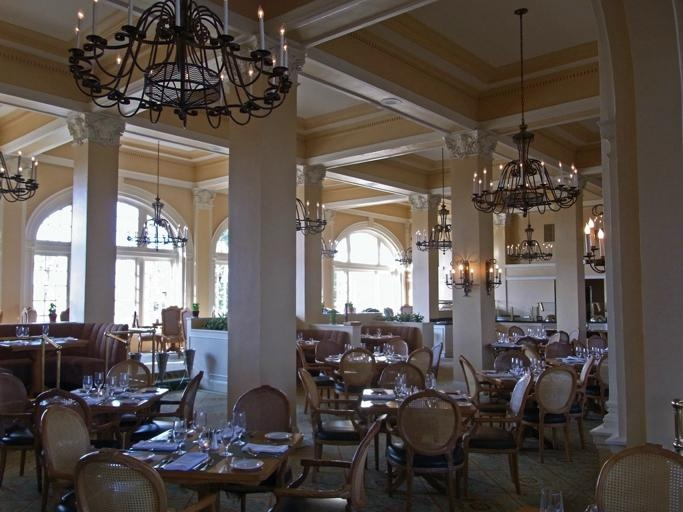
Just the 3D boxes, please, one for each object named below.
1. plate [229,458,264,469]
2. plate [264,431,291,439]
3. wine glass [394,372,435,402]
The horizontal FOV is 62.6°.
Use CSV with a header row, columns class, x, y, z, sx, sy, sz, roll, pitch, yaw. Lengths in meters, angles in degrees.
class,x,y,z,sx,sy,sz,roll,pitch,yaw
plate,-0.741,1.639,4.402,0.257,0.042,0.241,0,-7,-5
plate,-0.565,1.615,4.982,0.244,0.055,0.190,0,-7,-8
wine glass,0.777,1.501,6.368,0.305,0.233,0.316,0,-4,-15
